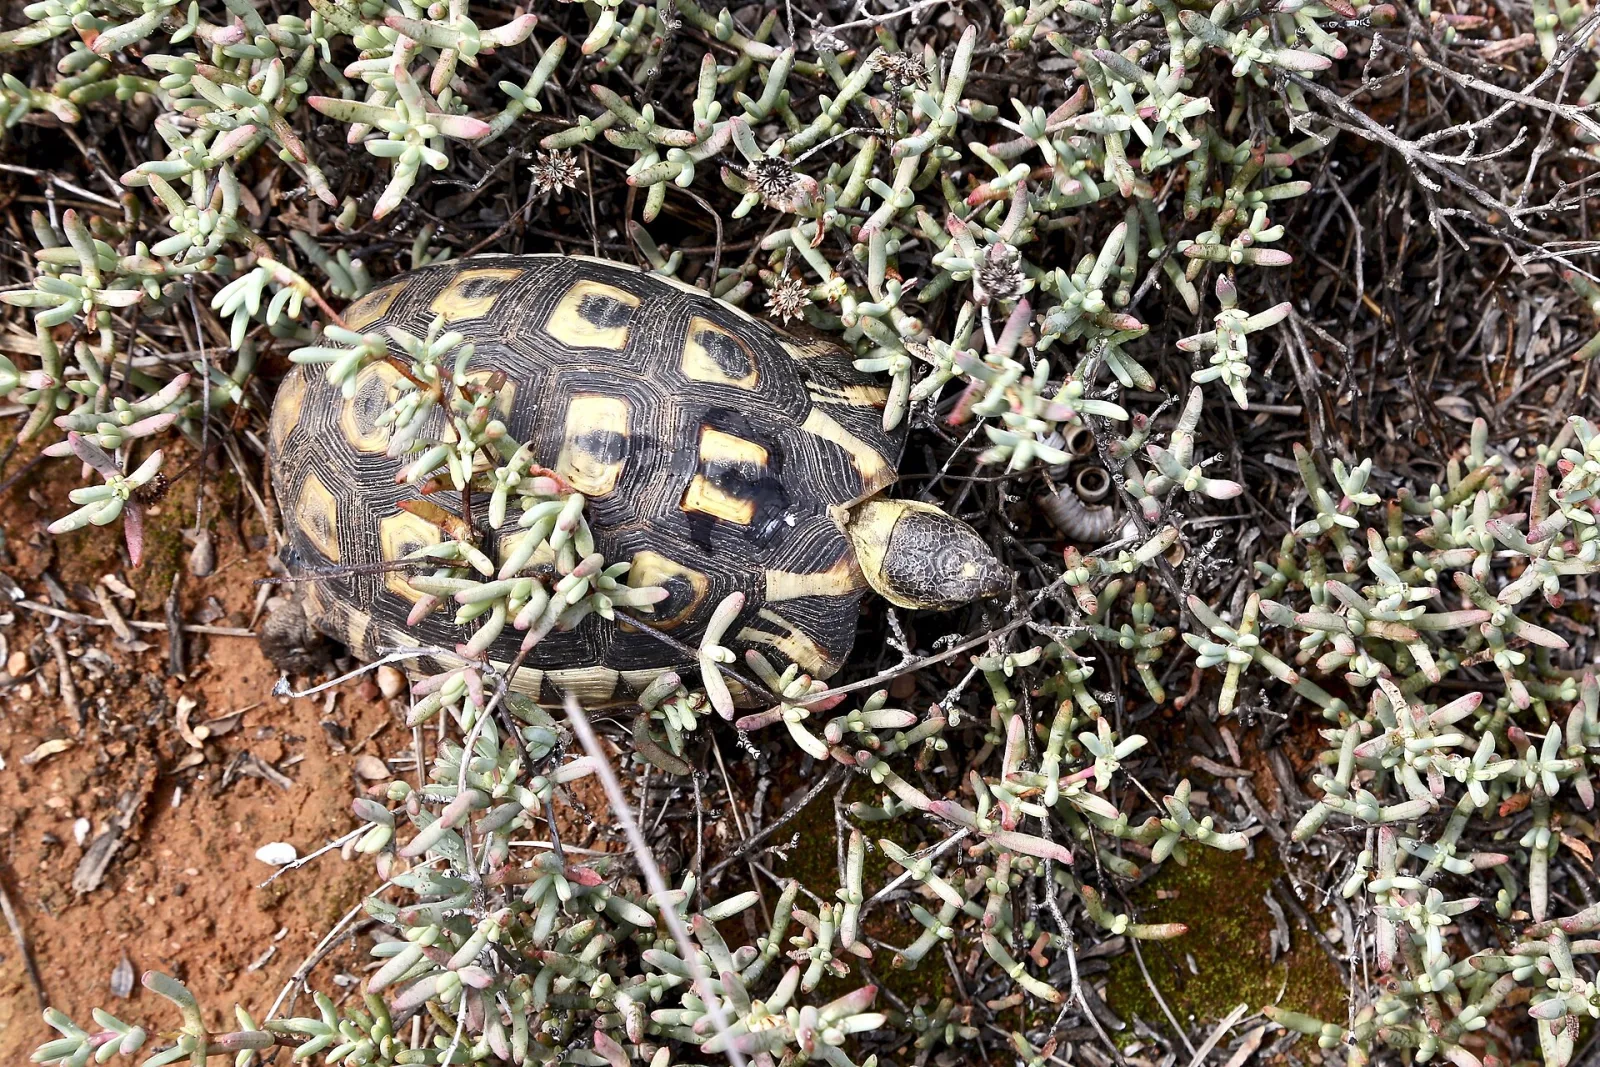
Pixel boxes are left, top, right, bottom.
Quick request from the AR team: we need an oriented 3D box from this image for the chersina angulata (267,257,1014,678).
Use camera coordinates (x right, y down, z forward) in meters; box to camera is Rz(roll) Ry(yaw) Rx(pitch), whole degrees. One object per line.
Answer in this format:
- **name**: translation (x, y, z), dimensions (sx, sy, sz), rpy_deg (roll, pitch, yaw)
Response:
- **chersina angulata**: translation (-0.346, -0.139, 3.002), dimensions (1.461, 0.528, 0.841), rpy_deg (5, 85, -2)
